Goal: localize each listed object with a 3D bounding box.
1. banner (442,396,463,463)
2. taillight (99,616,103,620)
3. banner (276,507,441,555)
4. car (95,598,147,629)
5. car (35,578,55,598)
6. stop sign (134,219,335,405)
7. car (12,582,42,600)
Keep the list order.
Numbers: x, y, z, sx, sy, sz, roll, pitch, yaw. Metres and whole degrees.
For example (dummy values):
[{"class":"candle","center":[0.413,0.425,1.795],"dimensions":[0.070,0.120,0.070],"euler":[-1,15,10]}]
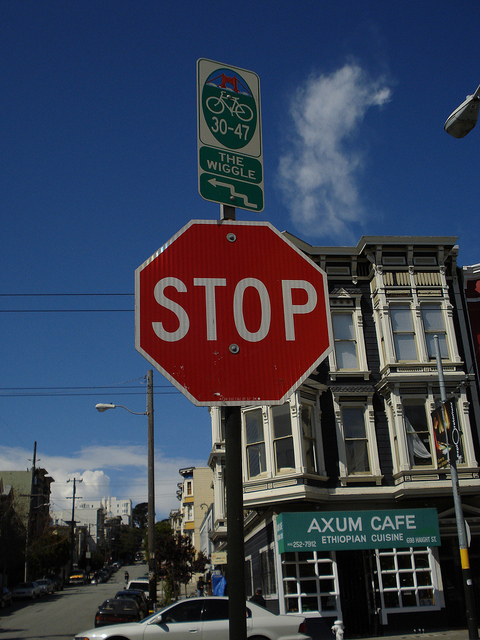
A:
[{"class":"banner","center":[5.851,3.051,20.847],"dimensions":[0.340,1.827,0.555],"euler":[-8,-20,16]},{"class":"taillight","center":[-3.679,7.893,19.992],"dimensions":[0.085,0.100,0.064],"euler":[1,-26,-6]},{"class":"banner","center":[3.340,5.814,20.963],"dimensions":[4.621,1.066,0.263],"euler":[3,-20,-15]},{"class":"car","center":[-3.284,7.870,20.351],"dimensions":[0.953,0.860,2.325],"euler":[1,-10,-4]},{"class":"car","center":[-12.666,17.323,49.012],"dimensions":[0.989,1.137,2.414],"euler":[0,-17,-6]},{"class":"stop sign","center":[-0.029,-0.070,4.516],"dimensions":[1.177,1.178,0.133],"euler":[2,-19,-11]},{"class":"car","center":[-12.497,16.035,44.651],"dimensions":[0.780,0.743,2.081],"euler":[-2,-28,-3]}]
